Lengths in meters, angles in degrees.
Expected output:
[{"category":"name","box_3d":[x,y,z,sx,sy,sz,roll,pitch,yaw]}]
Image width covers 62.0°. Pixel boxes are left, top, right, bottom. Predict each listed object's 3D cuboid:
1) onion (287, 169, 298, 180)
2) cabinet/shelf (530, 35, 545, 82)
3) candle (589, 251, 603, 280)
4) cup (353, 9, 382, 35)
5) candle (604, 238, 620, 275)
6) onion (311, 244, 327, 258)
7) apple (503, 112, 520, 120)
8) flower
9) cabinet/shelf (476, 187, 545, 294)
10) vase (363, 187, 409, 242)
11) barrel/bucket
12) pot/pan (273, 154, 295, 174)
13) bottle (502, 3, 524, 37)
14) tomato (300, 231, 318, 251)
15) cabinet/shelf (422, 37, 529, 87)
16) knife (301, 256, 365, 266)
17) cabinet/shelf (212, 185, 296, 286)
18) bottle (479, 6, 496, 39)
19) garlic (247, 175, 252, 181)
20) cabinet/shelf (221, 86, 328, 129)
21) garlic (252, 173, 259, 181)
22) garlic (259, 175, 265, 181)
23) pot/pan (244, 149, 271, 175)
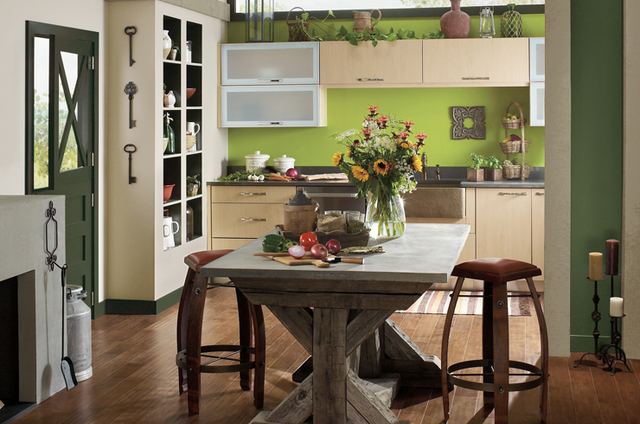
[{"category":"onion","box_3d":[-0.337,-0.470,6.665,0.139,0.154,0.136,0,1,17]},{"category":"cabinet/shelf","box_3d":[2.462,-1.732,6.072,0.186,0.488,0.100,5,13,14]},{"category":"candle","box_3d":[2.131,0.421,4.137,0.092,0.202,0.123,3,13,6]},{"category":"cup","box_3d":[0.564,-2.341,6.530,0.332,0.323,0.480,4,12,12]},{"category":"candle","box_3d":[2.288,0.360,4.177,0.102,0.283,0.180,9,14,28]},{"category":"onion","box_3d":[-0.004,0.222,3.030,0.078,0.036,0.075,7,25,-28]},{"category":"apple","box_3d":[2.322,-1.163,6.439,0.127,0.073,0.168,3,6,22]},{"category":"flower","box_3d":[0.478,-0.216,3.918,0.646,0.753,0.594,10,9,33]},{"category":"cabinet/shelf","box_3d":[2.330,0.205,6.402,0.551,0.927,1.031,9,14,38]},{"category":"vase","box_3d":[0.468,0.006,3.798,0.355,0.491,0.306,0,-4,-17]},{"category":"barrel/bucket","box_3d":[-1.859,0.951,4.110,0.174,0.649,0.296,-4,14,-25]},{"category":"pot/pan","box_3d":[-0.453,-0.616,6.825,0.250,0.200,0.242,-1,2,7]},{"category":"bottle","box_3d":[2.232,-2.225,6.186,0.157,0.375,0.206,-6,15,-31]},{"category":"tomato","box_3d":[-0.067,0.179,3.200,0.112,0.104,0.104,5,-9,-2]},{"category":"cabinet/shelf","box_3d":[1.842,-1.741,6.470,1.191,0.550,0.626,0,1,6]},{"category":"knife","box_3d":[0.065,0.269,3.000,0.360,0.037,0.193,0,12,-7]},{"category":"cabinet/shelf","box_3d":[-0.851,0.288,6.648,1.254,1.066,0.741,0,0,3]},{"category":"bottle","box_3d":[1.980,-2.241,6.286,0.167,0.374,0.272,3,13,7]},{"category":"garlic","box_3d":[-0.864,-0.424,6.570,0.072,0.070,0.043,6,12,-7]},{"category":"cabinet/shelf","box_3d":[-0.491,-1.336,6.829,1.392,0.553,0.705,4,9,25]},{"category":"garlic","box_3d":[-0.784,-0.426,6.582,0.064,0.056,0.084,-1,-5,18]},{"category":"garlic","box_3d":[-0.711,-0.419,6.565,0.065,0.066,0.072,1,-7,-11]},{"category":"pot/pan","box_3d":[-0.816,-0.653,6.775,0.278,0.253,0.281,1,2,39]}]
